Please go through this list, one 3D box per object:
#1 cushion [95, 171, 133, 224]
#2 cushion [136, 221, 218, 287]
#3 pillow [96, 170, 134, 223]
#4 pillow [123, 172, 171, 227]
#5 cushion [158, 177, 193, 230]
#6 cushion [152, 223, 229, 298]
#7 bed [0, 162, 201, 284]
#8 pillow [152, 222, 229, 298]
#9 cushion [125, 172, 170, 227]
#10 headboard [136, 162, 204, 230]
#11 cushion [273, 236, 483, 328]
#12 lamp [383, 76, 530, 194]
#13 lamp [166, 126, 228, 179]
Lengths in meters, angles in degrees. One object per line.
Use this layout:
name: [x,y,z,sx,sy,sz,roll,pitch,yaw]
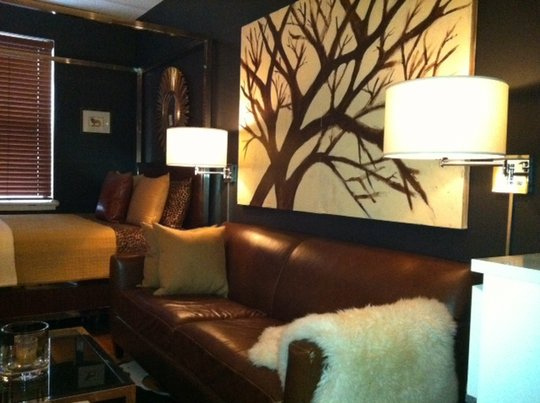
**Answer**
cushion: [-1.689,-0.071,4.572,0.287,0.557,0.669,5,0,-40]
cushion: [-0.660,0.392,2.990,0.413,0.382,0.157,-1,-4,-19]
pillow: [-1.684,-0.073,4.564,0.305,0.561,0.673,-1,4,-40]
pillow: [-1.240,-0.008,4.226,0.256,0.561,0.648,2,3,-41]
cushion: [-0.889,0.025,3.947,0.142,0.321,0.503,18,-20,-6]
cushion: [-0.561,0.434,2.947,0.430,0.435,0.163,6,-25,-23]
bed: [-1.548,0.255,3.896,1.268,0.623,1.330,0,9,-27]
pillow: [-0.561,0.430,2.950,0.424,0.434,0.162,6,-26,-22]
cushion: [-1.229,0.006,4.223,0.260,0.559,0.664,6,-1,-39]
headboard: [-0.973,-0.078,4.094,0.233,0.376,1.435,-21,9,-6]
cushion: [0.486,0.513,2.296,1.149,0.516,0.252,8,9,44]
lamp: [0.775,-0.291,2.007,0.653,0.526,0.622,10,16,35]
lamp: [-0.587,-0.383,3.476,0.496,0.401,0.490,6,7,18]
